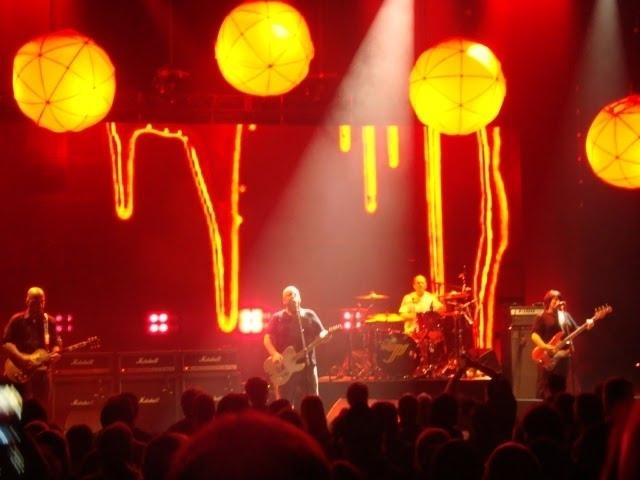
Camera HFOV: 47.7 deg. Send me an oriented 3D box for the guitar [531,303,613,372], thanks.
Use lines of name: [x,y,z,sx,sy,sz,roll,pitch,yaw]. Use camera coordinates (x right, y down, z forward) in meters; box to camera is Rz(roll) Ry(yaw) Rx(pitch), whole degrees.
guitar: [3.220,1.215,9.213,1.023,0.882,0.412,7,-21,-14]

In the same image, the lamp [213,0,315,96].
lamp: [-0.539,-1.873,7.062,0.949,0.630,0.650,5,-22,-8]

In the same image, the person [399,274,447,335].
person: [1.462,1.004,10.638,0.643,0.959,0.572,-1,20,5]

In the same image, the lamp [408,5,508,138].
lamp: [1.284,-1.414,6.760,0.811,0.898,0.514,4,19,8]

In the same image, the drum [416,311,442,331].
drum: [1.511,1.127,10.104,0.331,0.260,0.096,-7,-22,20]

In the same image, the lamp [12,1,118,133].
lamp: [-2.526,-1.533,7.204,0.967,0.920,0.903,53,-30,-9]
